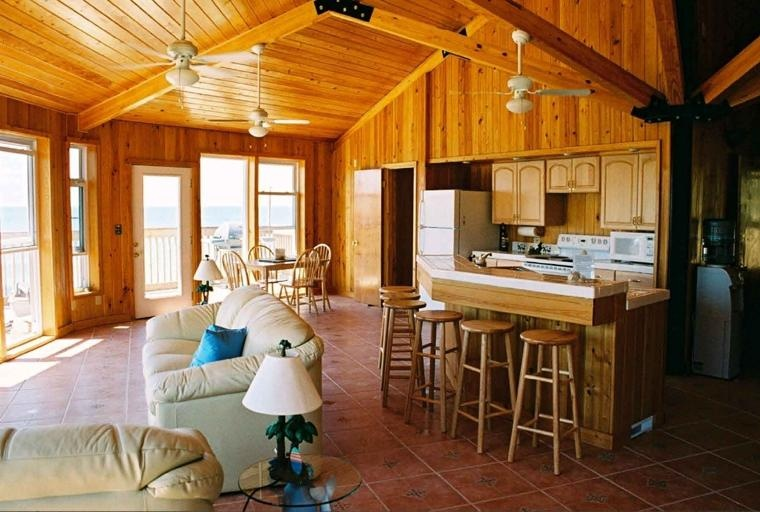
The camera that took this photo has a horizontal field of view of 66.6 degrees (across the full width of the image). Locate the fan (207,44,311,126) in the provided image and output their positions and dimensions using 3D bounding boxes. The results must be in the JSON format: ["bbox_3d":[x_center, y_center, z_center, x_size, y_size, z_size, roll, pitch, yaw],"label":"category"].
[{"bbox_3d":[-1.624,-2.163,7.509,1.426,1.004,1.360,6,15,12],"label":"fan"}]

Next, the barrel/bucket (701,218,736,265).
[{"bbox_3d":[3.980,-0.161,6.768,0.347,0.548,0.155,-2,5,14],"label":"barrel/bucket"}]

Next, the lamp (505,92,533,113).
[{"bbox_3d":[1.356,-1.471,5.583,0.220,0.190,0.325,-2,4,18],"label":"lamp"}]

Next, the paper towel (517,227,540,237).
[{"bbox_3d":[2.172,-0.392,8.466,0.265,0.113,0.168,2,16,39],"label":"paper towel"}]

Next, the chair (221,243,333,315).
[{"bbox_3d":[-1.775,0.371,9.488,1.772,0.794,1.077,1,2,34],"label":"chair"}]

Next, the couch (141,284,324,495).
[{"bbox_3d":[-1.631,1.074,5.790,1.466,1.178,2.947,-2,5,-21],"label":"couch"}]

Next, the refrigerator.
[{"bbox_3d":[1.170,-0.496,8.672,1.222,1.003,0.527,-3,5,4],"label":"refrigerator"}]

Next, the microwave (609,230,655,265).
[{"bbox_3d":[3.241,-0.105,7.179,0.392,0.367,0.621,1,1,-31],"label":"microwave"}]

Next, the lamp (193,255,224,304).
[{"bbox_3d":[-2.050,0.289,6.764,0.360,0.582,0.332,4,0,1],"label":"lamp"}]

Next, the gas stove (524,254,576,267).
[{"bbox_3d":[2.341,0.060,7.834,0.725,0.115,0.589,0,5,36],"label":"gas stove"}]

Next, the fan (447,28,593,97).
[{"bbox_3d":[1.583,-1.759,5.906,1.087,0.811,1.173,-12,13,-40],"label":"fan"}]

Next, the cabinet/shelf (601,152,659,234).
[{"bbox_3d":[3.280,-0.785,7.092,0.417,0.960,1.105,-6,8,-28],"label":"cabinet/shelf"}]

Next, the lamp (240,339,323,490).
[{"bbox_3d":[-0.685,1.066,3.984,0.558,0.844,0.629,5,5,38],"label":"lamp"}]

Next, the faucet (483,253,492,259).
[{"bbox_3d":[1.374,-0.001,7.358,0.060,0.073,0.187,-5,-15,30],"label":"faucet"}]

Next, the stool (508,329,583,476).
[{"bbox_3d":[1.483,1.257,5.129,0.774,1.024,0.727,1,-3,10],"label":"stool"}]

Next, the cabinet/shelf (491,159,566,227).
[{"bbox_3d":[2.227,-0.887,8.480,0.665,0.931,1.096,-7,9,-35],"label":"cabinet/shelf"}]

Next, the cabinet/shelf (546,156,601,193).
[{"bbox_3d":[2.696,-1.087,7.815,0.760,0.468,0.431,4,10,45],"label":"cabinet/shelf"}]
